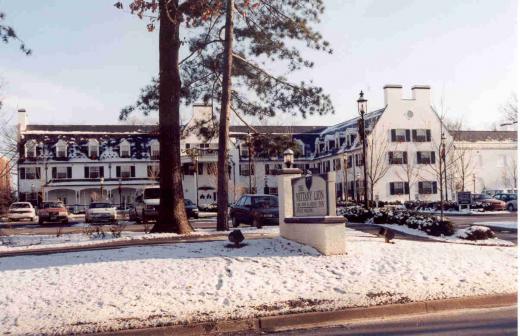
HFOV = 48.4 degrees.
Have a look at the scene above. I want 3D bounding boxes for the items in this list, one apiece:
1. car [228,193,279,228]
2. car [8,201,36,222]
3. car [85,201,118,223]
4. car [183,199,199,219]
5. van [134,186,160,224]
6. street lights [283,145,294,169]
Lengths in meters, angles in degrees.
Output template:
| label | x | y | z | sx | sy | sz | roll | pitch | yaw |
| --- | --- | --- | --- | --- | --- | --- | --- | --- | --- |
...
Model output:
| label | x | y | z | sx | sy | sz | roll | pitch | yaw |
| --- | --- | --- | --- | --- | --- | --- | --- | --- | --- |
| car | -0.184 | 2.316 | 32.179 | 1.387 | 1.217 | 2.760 | 2 | -8 | -25 |
| car | -18.846 | 3.403 | 45.291 | 1.903 | 1.514 | 1.605 | 1 | -6 | -26 |
| car | -11.401 | 3.119 | 41.039 | 1.887 | 1.493 | 2.511 | 1 | -6 | -24 |
| car | -5.221 | 3.108 | 43.370 | 1.034 | 1.074 | 2.332 | 1 | -10 | -14 |
| van | -7.182 | 2.297 | 36.828 | 1.876 | 1.612 | 3.358 | 1 | -9 | -18 |
| street lights | 1.290 | -0.442 | 26.038 | 0.379 | 0.934 | 0.718 | -1 | -5 | -2 |
